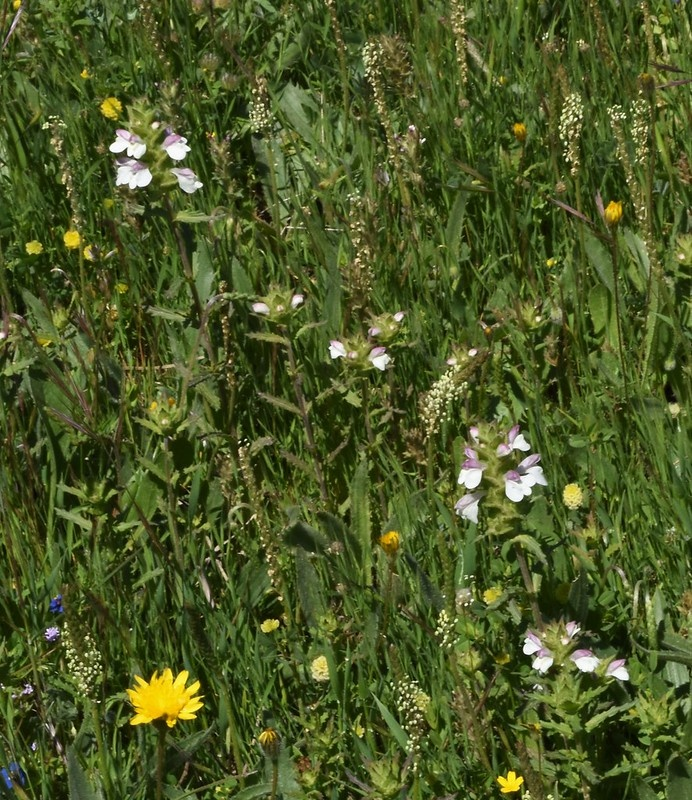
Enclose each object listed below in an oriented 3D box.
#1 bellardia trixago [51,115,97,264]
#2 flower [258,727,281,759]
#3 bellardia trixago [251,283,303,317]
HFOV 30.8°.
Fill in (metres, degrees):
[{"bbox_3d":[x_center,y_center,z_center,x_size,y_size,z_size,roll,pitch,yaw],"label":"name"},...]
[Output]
[{"bbox_3d":[-0.762,-0.568,3.511,0.070,0.511,0.116,-2,14,15],"label":"bellardia trixago"},{"bbox_3d":[-0.132,0.584,2.177,0.030,0.056,0.021,4,18,25],"label":"flower"},{"bbox_3d":[-0.163,-0.227,2.938,0.069,0.089,0.094,-6,7,-3],"label":"bellardia trixago"}]
